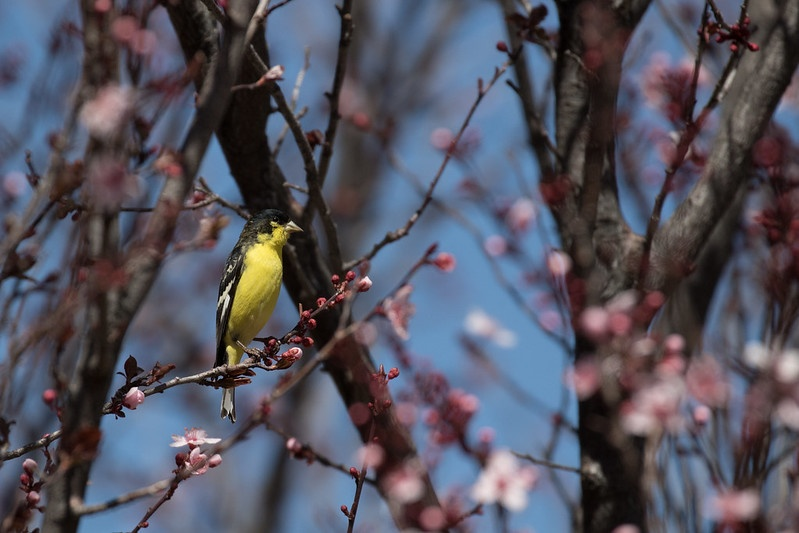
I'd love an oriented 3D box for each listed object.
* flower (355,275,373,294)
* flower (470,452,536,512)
[{"bbox_3d":[-0.238,0.114,7.602,0.092,0.063,0.118,-32,17,-11],"label":"flower"},{"bbox_3d":[0.723,1.500,8.140,0.403,0.252,0.437,7,30,21],"label":"flower"}]
